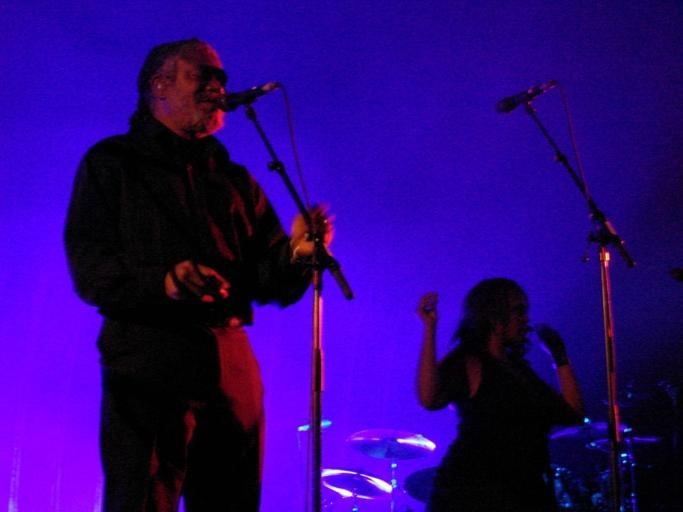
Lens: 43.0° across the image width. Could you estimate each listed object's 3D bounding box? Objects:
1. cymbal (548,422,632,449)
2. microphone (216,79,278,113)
[{"bbox_3d":[1.880,1.402,6.764,0.392,0.074,0.332,0,-5,-40],"label":"cymbal"},{"bbox_3d":[-0.574,-0.948,5.229,0.445,0.140,0.146,-13,28,25],"label":"microphone"}]
